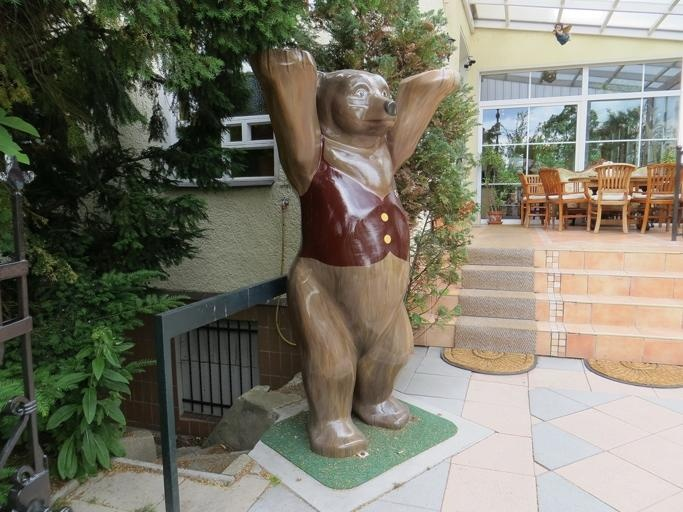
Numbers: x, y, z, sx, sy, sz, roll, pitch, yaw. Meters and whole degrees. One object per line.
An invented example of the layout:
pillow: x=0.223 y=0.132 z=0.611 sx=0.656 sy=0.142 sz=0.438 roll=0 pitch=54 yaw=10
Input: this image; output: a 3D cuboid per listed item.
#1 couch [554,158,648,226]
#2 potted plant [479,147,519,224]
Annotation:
couch: x=4.143 y=-1.046 z=7.980 sx=1.186 sy=1.608 sz=1.136 roll=0 pitch=3 yaw=21
potted plant: x=3.238 y=-1.509 z=10.239 sx=0.782 sy=1.524 sz=0.567 roll=2 pitch=9 yaw=20
